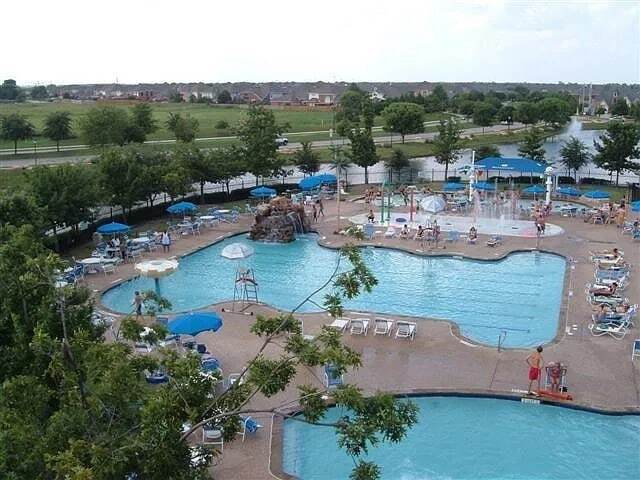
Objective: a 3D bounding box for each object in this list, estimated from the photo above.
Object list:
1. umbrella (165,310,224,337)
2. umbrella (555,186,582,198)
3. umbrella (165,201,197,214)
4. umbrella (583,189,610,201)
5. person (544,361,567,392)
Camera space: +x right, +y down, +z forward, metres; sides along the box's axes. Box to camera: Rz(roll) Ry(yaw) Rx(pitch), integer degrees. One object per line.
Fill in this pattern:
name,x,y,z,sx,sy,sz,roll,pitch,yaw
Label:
umbrella,-5.168,3.487,22.128,2.030,0.735,1.159,-10,16,-21
umbrella,23.531,-4.503,51.066,1.704,0.550,1.554,-8,13,-28
umbrella,-11.185,-2.547,42.836,1.855,0.569,1.855,7,14,34
umbrella,25.513,-4.079,49.704,1.711,0.543,1.559,-8,8,-9
person,8.951,5.068,20.445,0.788,1.239,1.288,1,17,22
